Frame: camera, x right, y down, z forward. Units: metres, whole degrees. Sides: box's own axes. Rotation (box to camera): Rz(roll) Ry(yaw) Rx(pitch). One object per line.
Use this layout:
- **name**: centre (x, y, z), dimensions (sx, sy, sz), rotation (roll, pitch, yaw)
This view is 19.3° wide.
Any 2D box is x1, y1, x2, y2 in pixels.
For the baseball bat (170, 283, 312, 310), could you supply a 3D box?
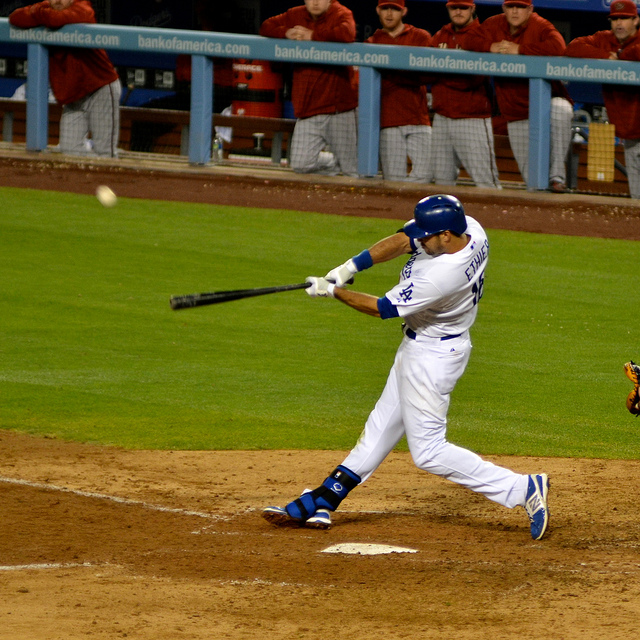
- **baseball bat**: centre (-0.542, -0.167, 12.285), dimensions (1.171, 0.108, 0.144), rotation (-6, 2, -10)

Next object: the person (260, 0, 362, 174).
- **person**: centre (-0.027, -1.965, 15.351), dimensions (0.799, 1.357, 0.877), rotation (5, 1, 1)

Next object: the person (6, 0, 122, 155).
- **person**: centre (-2.161, -2.091, 16.027), dimensions (0.967, 1.210, 1.002), rotation (4, 1, -6)

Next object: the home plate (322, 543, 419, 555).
- **home plate**: centre (0.280, 1.193, 9.800), dimensions (0.485, 0.054, 0.157), rotation (4, 0, 3)

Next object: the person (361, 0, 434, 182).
- **person**: centre (0.684, -1.862, 15.114), dimensions (0.645, 1.411, 0.594), rotation (5, 1, 2)

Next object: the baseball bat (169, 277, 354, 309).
- **baseball bat**: centre (-0.413, -0.190, 12.218), dimensions (1.291, 0.127, 0.170), rotation (-6, -10, -12)

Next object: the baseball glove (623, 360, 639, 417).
- **baseball glove**: centre (1.913, 0.402, 11.232), dimensions (0.109, 0.330, 0.231), rotation (5, 1, 9)

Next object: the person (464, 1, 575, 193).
- **person**: centre (1.605, -1.778, 14.763), dimensions (0.921, 1.462, 0.690), rotation (5, 1, 6)

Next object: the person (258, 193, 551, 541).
- **person**: centre (0.548, 0.244, 9.945), dimensions (1.457, 1.782, 0.464), rotation (5, 1, 19)

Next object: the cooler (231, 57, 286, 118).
- **cooler**: centre (-0.591, -2.167, 17.578), dimensions (0.493, 0.503, 1.243), rotation (4, 0, 4)
